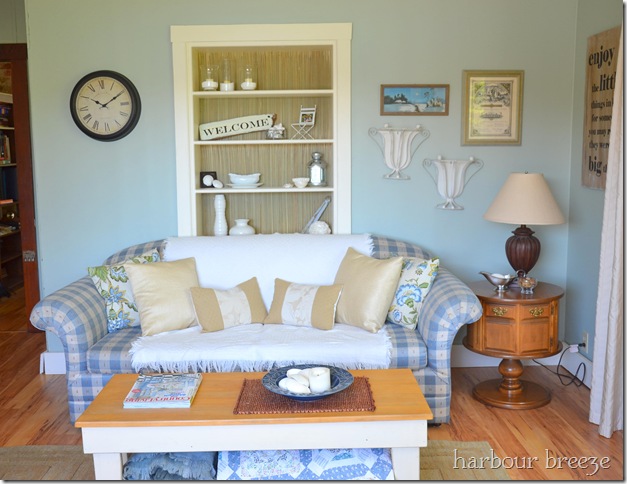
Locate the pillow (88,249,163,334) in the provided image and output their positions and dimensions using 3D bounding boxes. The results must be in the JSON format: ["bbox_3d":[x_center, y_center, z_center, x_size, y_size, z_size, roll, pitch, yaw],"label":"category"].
[{"bbox_3d":[-1.291,0.331,3.274,0.517,0.445,0.149,-12,0,-23],"label":"pillow"}]

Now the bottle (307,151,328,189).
[{"bbox_3d":[0.027,-0.571,3.963,0.148,0.261,0.103,-1,12,0],"label":"bottle"}]

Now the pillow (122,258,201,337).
[{"bbox_3d":[-0.982,0.351,3.248,0.488,0.430,0.145,-6,-14,-42],"label":"pillow"}]

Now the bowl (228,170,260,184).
[{"bbox_3d":[-0.558,-0.511,4.003,0.260,0.093,0.200,-2,11,-6],"label":"bowl"}]

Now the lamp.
[{"bbox_3d":[1.401,-0.091,3.370,0.348,0.727,0.375,-8,13,-29],"label":"lamp"}]

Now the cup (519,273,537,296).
[{"bbox_3d":[1.428,0.286,3.342,0.111,0.088,0.116,0,0,0],"label":"cup"}]

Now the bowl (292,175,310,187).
[{"bbox_3d":[-0.111,-0.474,3.939,0.105,0.064,0.099,-1,0,0],"label":"bowl"}]

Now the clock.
[{"bbox_3d":[-1.595,-1.053,3.787,0.561,0.506,0.087,-3,4,3],"label":"clock"}]

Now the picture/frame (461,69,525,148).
[{"bbox_3d":[1.354,-1.032,3.773,0.614,0.658,0.052,0,8,-2],"label":"picture/frame"}]

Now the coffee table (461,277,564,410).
[{"bbox_3d":[1.187,0.676,3.550,0.770,0.771,0.759,-1,2,6],"label":"coffee table"}]
